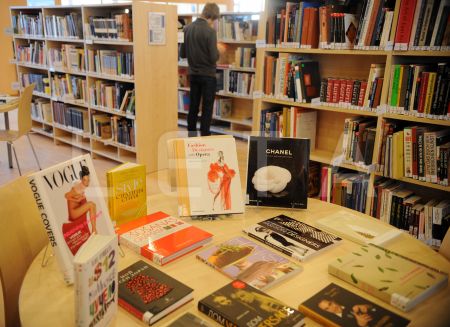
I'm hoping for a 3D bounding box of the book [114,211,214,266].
[{"bbox_3d":[-0.285,0.322,1.498,0.250,0.033,0.216,18,25,40],"label":"book"}]

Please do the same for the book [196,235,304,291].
[{"bbox_3d":[0.095,0.401,1.366,0.189,0.025,0.243,-18,28,-41],"label":"book"}]

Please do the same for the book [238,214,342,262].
[{"bbox_3d":[0.312,0.336,1.541,0.232,0.023,0.205,-13,25,-43],"label":"book"}]

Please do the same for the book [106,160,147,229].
[{"bbox_3d":[-0.467,0.159,1.582,0.240,0.325,0.135,-14,22,-43],"label":"book"}]

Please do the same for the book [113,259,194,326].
[{"bbox_3d":[-0.289,0.469,1.225,0.284,0.065,0.194,15,24,39],"label":"book"}]
